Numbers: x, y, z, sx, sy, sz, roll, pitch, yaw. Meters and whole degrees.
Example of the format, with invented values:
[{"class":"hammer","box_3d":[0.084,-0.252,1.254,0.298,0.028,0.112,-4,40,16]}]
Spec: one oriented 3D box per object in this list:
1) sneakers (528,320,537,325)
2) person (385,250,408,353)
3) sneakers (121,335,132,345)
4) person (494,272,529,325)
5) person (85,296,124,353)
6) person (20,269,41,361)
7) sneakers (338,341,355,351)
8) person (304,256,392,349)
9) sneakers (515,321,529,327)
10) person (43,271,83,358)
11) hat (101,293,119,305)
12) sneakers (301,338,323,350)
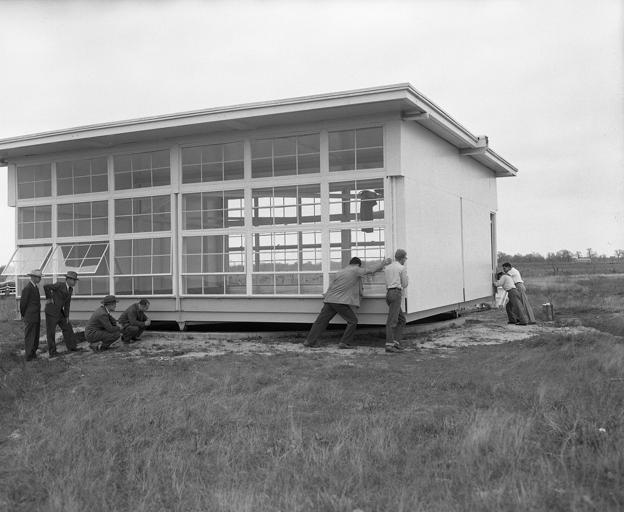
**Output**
[{"class":"sneakers","box_3d":[5.039,1.516,15.264,0.184,0.110,0.487,0,5,21]},{"class":"person","box_3d":[1.445,0.756,11.505,0.384,1.724,0.920,-1,4,8]},{"class":"sneakers","box_3d":[-3.503,1.583,12.452,0.140,0.167,0.152,-3,1,5]},{"class":"person","box_3d":[4.631,1.004,15.412,0.514,1.106,1.174,-1,4,0]},{"class":"person","box_3d":[-3.732,1.206,11.797,0.608,0.910,0.532,-4,5,-28]},{"class":"person","box_3d":[-4.727,0.995,11.102,0.310,1.449,0.720,-2,4,-17]},{"class":"sneakers","box_3d":[0.572,1.574,11.623,0.269,0.119,0.423,-2,5,2]},{"class":"person","box_3d":[0.639,0.881,11.860,1.226,2.019,0.755,6,-23,8]},{"class":"sneakers","box_3d":[4.683,1.539,14.963,0.289,0.231,0.103,-4,0,30]},{"class":"person","box_3d":[-4.429,1.009,11.710,0.539,1.388,0.856,-3,4,-21]},{"class":"hat","box_3d":[-3.668,0.796,11.915,0.293,0.129,0.296,-3,4,-2]},{"class":"sneakers","box_3d":[0.005,1.574,11.814,0.350,0.190,0.130,0,2,-29]}]
